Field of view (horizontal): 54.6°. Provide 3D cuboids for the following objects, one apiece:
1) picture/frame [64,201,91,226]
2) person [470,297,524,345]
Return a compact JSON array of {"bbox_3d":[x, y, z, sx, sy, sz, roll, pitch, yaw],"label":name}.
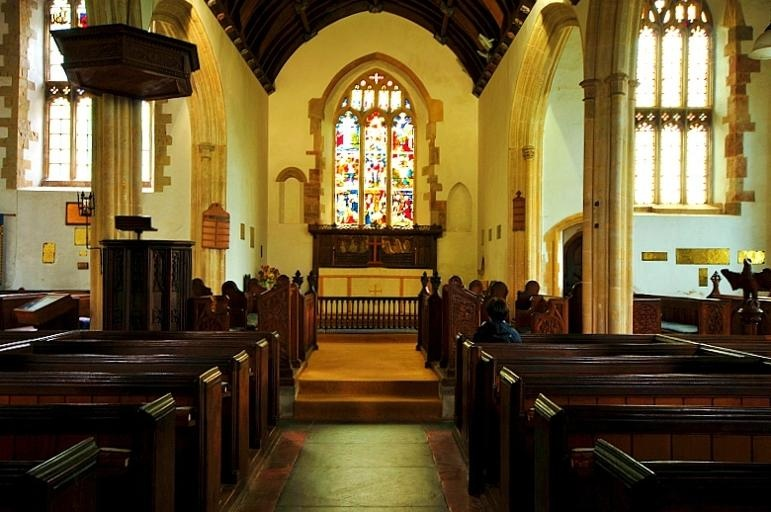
[{"bbox_3d":[-6.133,-0.867,14.866,0.552,0.535,0.299,-1,3,-6],"label":"picture/frame"},{"bbox_3d":[1.279,0.873,8.608,0.542,0.775,0.461,-1,-15,9],"label":"person"}]
